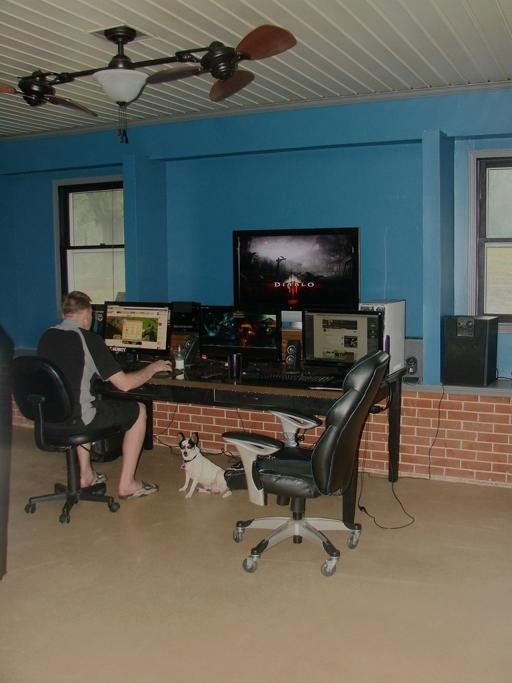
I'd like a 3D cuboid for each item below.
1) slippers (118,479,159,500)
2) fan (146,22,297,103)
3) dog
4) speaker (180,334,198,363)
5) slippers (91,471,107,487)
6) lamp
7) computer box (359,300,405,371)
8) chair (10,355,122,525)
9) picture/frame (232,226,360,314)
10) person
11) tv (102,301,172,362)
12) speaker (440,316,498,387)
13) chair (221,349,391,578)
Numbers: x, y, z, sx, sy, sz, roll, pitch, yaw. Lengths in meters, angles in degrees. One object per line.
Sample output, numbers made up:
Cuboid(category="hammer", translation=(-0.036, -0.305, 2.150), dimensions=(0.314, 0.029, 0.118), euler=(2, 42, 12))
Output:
Cuboid(category="slippers", translation=(-0.825, 1.033, 3.833), dimensions=(0.271, 0.109, 0.090), euler=(-5, 18, -41))
Cuboid(category="fan", translation=(-0.081, -1.229, 2.348), dimensions=(0.487, 0.125, 0.480), euler=(-7, -6, -34))
Cuboid(category="dog", translation=(-0.361, 0.859, 3.820), dimensions=(0.385, 0.422, 0.255), euler=(2, -1, -23))
Cuboid(category="speaker", translation=(-0.504, 0.058, 4.154), dimensions=(0.056, 0.184, 0.137), euler=(7, 0, -16))
Cuboid(category="slippers", translation=(-1.140, 1.029, 4.017), dimensions=(0.128, 0.045, 0.099), euler=(7, 2, 27))
Cuboid(category="lamp", translation=(-0.647, -1.211, 2.595), dimensions=(0.245, 0.126, 0.195), euler=(-2, 4, -15))
Cuboid(category="computer box", translation=(0.868, -0.028, 3.927), dimensions=(0.364, 0.468, 0.281), euler=(0, 9, 39))
Cuboid(category="chair", translation=(-1.195, 0.596, 3.454), dimensions=(0.601, 1.067, 0.635), euler=(-2, 4, -16))
Cuboid(category="picture/frame", translation=(0.377, -0.602, 4.548), dimensions=(0.832, 0.492, 0.059), euler=(3, 7, 22))
Cuboid(category="person", translation=(-1.089, 0.378, 3.701), dimensions=(0.762, 1.382, 0.761), euler=(2, 4, 33))
Cuboid(category="tv", translation=(-0.983, -0.081, 4.501), dimensions=(0.661, 0.474, 0.175), euler=(3, 6, 22))
Cuboid(category="speaker", translation=(1.618, 0.064, 4.035), dimensions=(0.378, 0.475, 0.365), euler=(1, 1, -40))
Cuboid(category="chair", translation=(0.289, 0.571, 3.331), dimensions=(1.065, 1.476, 0.917), euler=(2, 3, 19))
